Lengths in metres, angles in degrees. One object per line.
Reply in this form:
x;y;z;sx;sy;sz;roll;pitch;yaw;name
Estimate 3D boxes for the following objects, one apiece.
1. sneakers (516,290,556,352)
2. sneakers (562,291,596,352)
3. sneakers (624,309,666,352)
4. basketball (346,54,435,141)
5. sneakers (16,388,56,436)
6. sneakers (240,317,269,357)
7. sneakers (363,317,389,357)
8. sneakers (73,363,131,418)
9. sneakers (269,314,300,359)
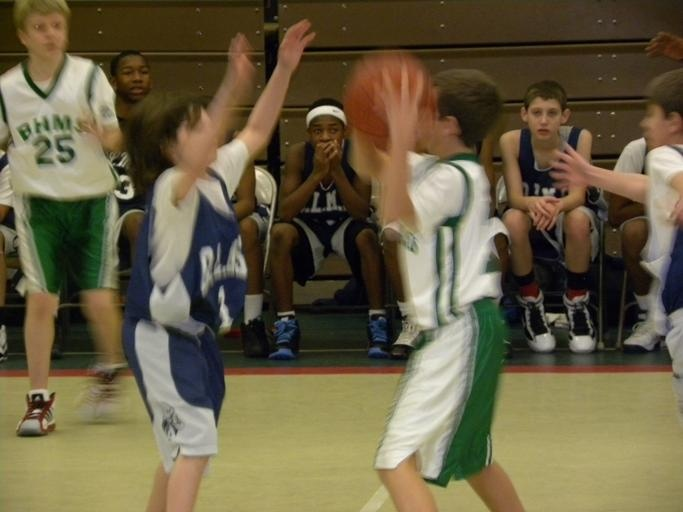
1.292;0.446;4.220;0.151;0.520;0.216;-10;-31;9;sneakers
1.630;0.399;4.210;0.149;0.479;0.202;-2;-42;8;sneakers
2.029;0.506;4.201;0.190;0.270;0.288;1;2;38;sneakers
0.117;-0.434;1.750;0.243;0.262;0.195;-11;11;1;basketball
-1.383;0.710;2.818;0.142;0.206;0.401;-1;-9;-13;sneakers
-0.585;0.550;4.205;0.183;0.264;0.117;0;1;-10;sneakers
0.250;0.532;4.127;0.149;0.286;0.120;0;1;5;sneakers
-1.193;0.664;3.102;0.191;0.243;0.298;0;2;-4;sneakers
-0.388;0.540;4.181;0.191;0.284;0.242;0;1;-5;sneakers
